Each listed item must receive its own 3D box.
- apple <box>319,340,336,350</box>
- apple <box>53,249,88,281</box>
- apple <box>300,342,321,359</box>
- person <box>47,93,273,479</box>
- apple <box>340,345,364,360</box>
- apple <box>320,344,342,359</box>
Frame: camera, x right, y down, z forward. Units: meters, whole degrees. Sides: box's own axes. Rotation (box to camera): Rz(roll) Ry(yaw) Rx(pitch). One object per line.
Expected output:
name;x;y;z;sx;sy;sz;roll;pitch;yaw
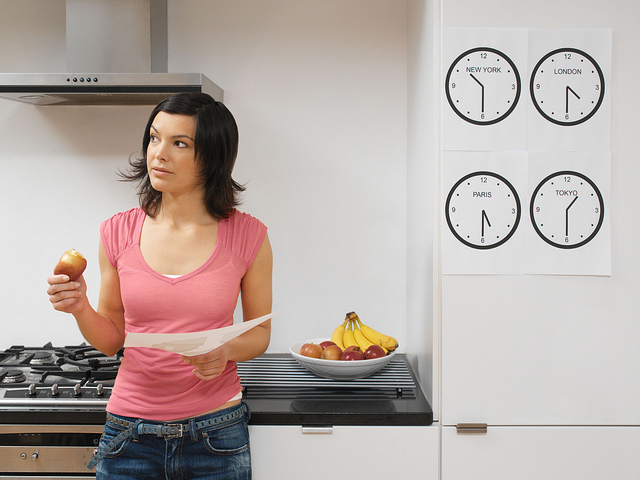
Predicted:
apple;0.029;0.388;2.598;0.037;0.030;0.030;10;-22;-23
apple;-0.761;0.076;2.100;0.085;0.102;0.131;2;-7;-21
apple;-0.031;0.403;2.529;0.053;0.051;0.053;-7;-11;24
person;-0.479;0.153;2.180;0.640;1.216;0.367;0;-6;2
apple;0.130;0.405;2.498;0.048;0.059;0.049;4;-16;3
apple;0.043;0.404;2.506;0.048;0.047;0.058;-10;3;33
